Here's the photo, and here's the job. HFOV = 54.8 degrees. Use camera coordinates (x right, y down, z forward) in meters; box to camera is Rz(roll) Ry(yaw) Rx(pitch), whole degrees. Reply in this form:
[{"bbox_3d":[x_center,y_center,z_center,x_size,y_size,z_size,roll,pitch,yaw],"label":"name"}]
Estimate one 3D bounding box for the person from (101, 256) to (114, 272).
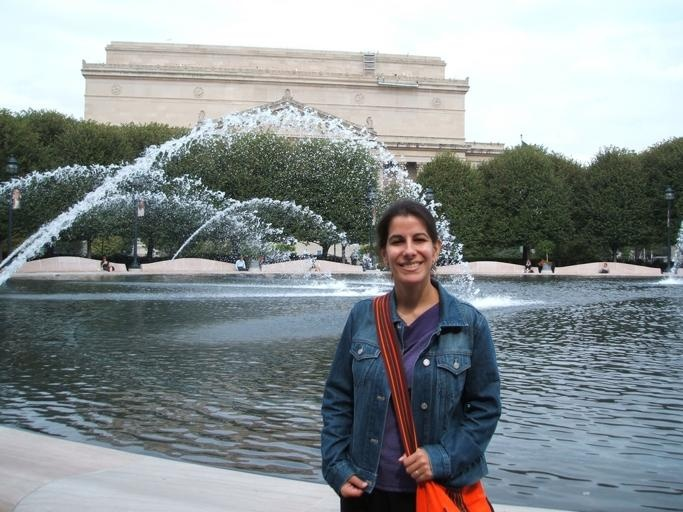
[{"bbox_3d":[-15.679,0.618,44.625,0.896,1.166,1.260,3,-11,-40],"label":"person"}]
